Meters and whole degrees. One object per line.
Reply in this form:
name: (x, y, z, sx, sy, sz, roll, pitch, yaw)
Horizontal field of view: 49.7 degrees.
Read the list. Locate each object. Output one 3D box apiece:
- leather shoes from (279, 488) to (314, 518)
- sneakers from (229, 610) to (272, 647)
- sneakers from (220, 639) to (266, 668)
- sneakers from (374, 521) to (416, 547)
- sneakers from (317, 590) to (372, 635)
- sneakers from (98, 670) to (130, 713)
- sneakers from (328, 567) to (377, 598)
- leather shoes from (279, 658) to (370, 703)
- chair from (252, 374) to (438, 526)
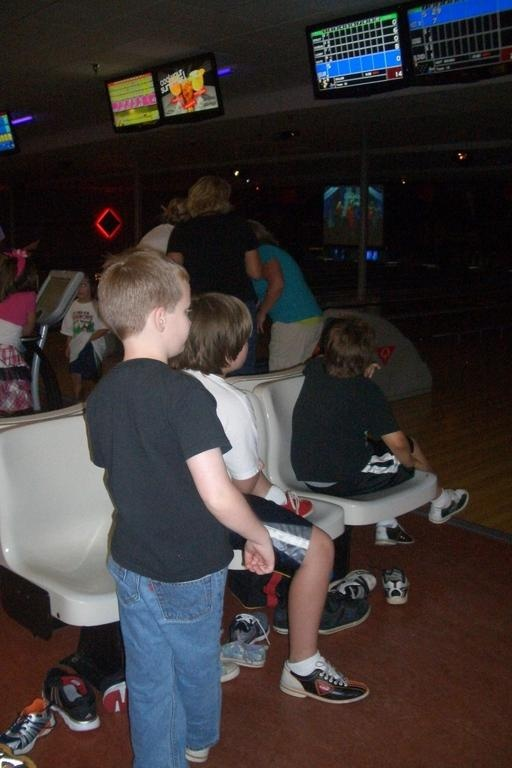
leather shoes: (0.099, 0.297, 1.367, 0.118, 0.046, 0.039, 25, 12, -37)
sneakers: (-0.013, 0.615, 1.421, 0.050, 0.059, 0.142, 0, 0, 21)
sneakers: (-0.025, 0.661, 1.379, 0.123, 0.051, 0.053, 4, -2, 9)
sneakers: (0.509, 0.550, 2.049, 0.159, 0.080, 0.063, 2, -2, -40)
sneakers: (0.241, 0.629, 1.560, 0.188, 0.085, 0.068, -8, 10, -38)
sneakers: (-0.304, 0.664, 1.192, 0.048, 0.055, 0.141, -6, -34, -24)
sneakers: (0.280, 0.575, 1.599, 0.129, 0.072, 0.053, -8, -21, -14)
leather shoes: (0.141, 0.647, 1.252, 0.244, 0.114, 0.081, 0, -5, 5)
chair: (0.236, 0.166, 1.636, 0.480, 0.391, 0.445, 2, 6, 33)
